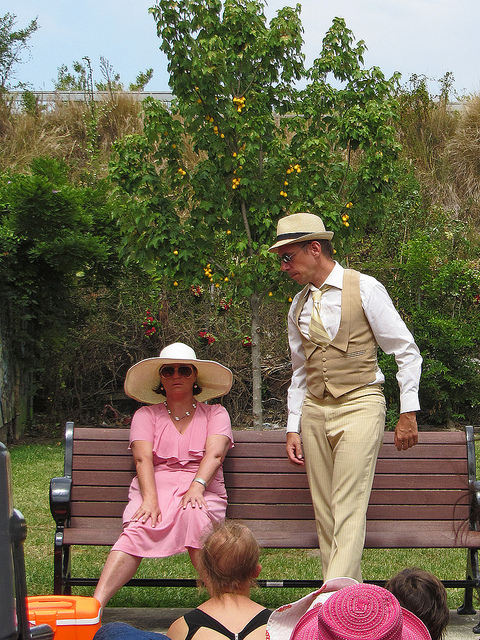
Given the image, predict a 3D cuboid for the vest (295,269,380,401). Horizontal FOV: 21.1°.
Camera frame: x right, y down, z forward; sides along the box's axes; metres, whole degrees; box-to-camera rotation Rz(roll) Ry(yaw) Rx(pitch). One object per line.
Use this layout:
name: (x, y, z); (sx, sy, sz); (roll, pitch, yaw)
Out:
vest: (0.547, 0.089, 7.236); (0.431, 0.729, 0.200); (-1, -4, 8)

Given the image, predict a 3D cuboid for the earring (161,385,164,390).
earring: (-0.488, 0.416, 7.890); (0.007, 0.033, 0.033); (2, 4, -41)

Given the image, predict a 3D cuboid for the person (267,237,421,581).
person: (0.598, 0.466, 7.133); (0.799, 1.884, 0.423); (-2, -4, 12)

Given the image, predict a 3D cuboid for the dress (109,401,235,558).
dress: (-0.384, 0.911, 7.492); (0.679, 0.869, 0.692); (-1, -4, 0)

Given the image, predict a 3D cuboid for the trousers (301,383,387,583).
trousers: (0.590, 0.896, 7.143); (0.438, 1.080, 0.473); (0, -4, -6)
